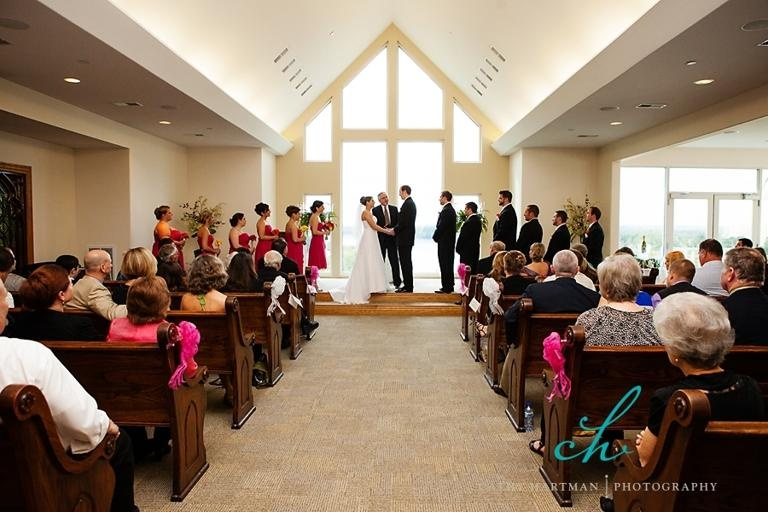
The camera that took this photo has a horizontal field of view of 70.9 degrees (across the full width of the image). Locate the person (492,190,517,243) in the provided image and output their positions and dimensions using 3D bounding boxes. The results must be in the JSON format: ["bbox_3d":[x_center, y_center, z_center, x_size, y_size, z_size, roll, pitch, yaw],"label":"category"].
[{"bbox_3d":[2.325,-0.693,10.428,0.437,1.136,1.553,2,9,12],"label":"person"}]

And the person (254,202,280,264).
[{"bbox_3d":[-2.449,-0.231,11.112,0.522,1.669,0.577,2,13,-4],"label":"person"}]

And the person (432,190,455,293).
[{"bbox_3d":[1.125,-0.243,10.263,0.413,1.974,0.484,1,9,5],"label":"person"}]

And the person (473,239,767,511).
[{"bbox_3d":[1.726,0.933,4.063,1.791,1.198,0.854,-2,5,-7],"label":"person"}]

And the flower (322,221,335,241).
[{"bbox_3d":[-1.212,-0.533,11.138,0.339,0.495,0.359,0,-3,-4],"label":"flower"}]

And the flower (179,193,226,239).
[{"bbox_3d":[-4.178,-1.038,12.234,1.083,1.335,1.205,1,1,-3],"label":"flower"}]

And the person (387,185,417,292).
[{"bbox_3d":[0.369,-0.327,10.419,0.385,2.072,0.741,0,9,1],"label":"person"}]

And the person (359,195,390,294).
[{"bbox_3d":[-0.291,-0.141,10.148,0.736,1.944,0.420,-3,10,-21],"label":"person"}]
